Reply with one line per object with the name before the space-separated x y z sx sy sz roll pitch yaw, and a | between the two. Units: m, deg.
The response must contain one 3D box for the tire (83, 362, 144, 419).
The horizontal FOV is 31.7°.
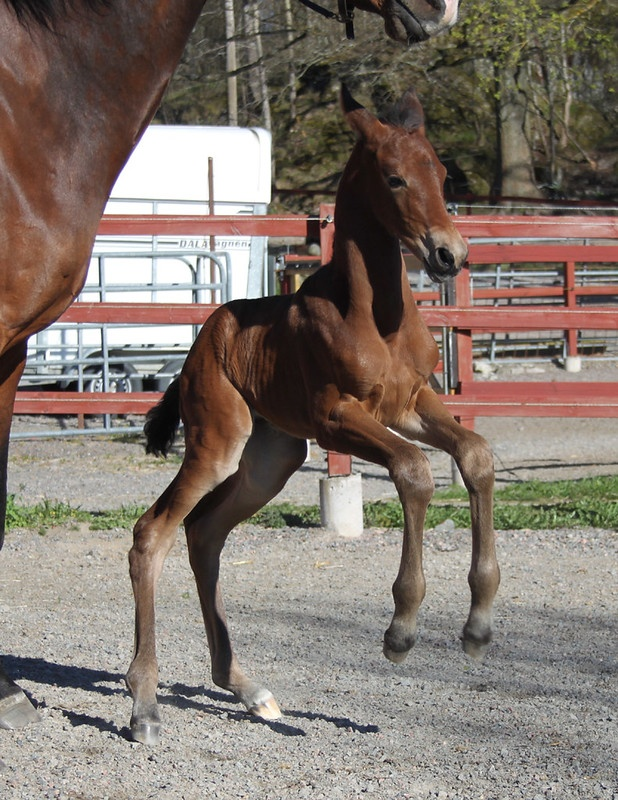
tire | -1.642 -0.086 9.142 0.618 0.548 0.194 -3 -2 -35
